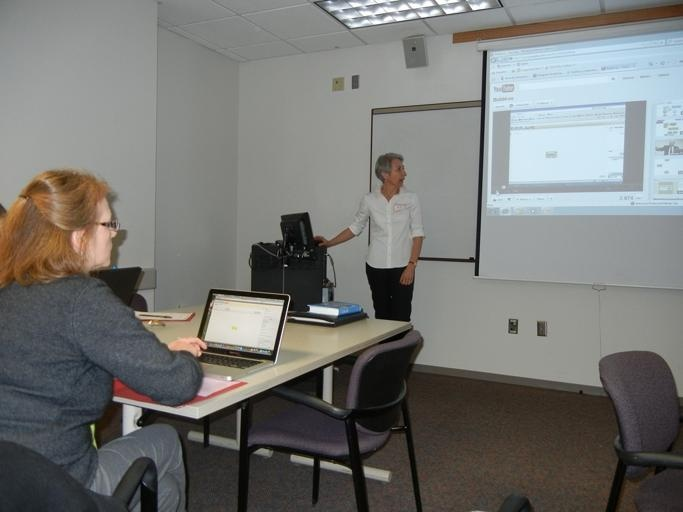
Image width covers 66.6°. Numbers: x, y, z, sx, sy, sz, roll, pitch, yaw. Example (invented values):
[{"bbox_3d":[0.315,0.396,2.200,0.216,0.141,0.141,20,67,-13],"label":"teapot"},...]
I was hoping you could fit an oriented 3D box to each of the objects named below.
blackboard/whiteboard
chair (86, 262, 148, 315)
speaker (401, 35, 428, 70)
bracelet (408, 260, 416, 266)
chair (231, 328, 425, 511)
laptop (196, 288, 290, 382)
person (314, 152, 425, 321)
[{"bbox_3d":[0.790,-0.634,4.651,1.379,1.910,0.078,2,7,22],"label":"blackboard/whiteboard"},{"bbox_3d":[-1.211,0.191,2.816,0.368,0.284,0.248,-1,10,-32],"label":"chair"},{"bbox_3d":[0.664,-1.857,4.714,0.241,0.301,0.151,-2,17,17],"label":"speaker"},{"bbox_3d":[0.589,0.058,4.355,0.038,0.039,0.039,8,13,40],"label":"bracelet"},{"bbox_3d":[-0.028,0.837,2.350,0.695,1.016,0.734,3,7,19],"label":"chair"},{"bbox_3d":[-0.432,0.306,2.241,0.361,0.239,0.323,4,5,24],"label":"laptop"},{"bbox_3d":[0.357,-0.179,4.565,0.699,1.400,0.290,5,7,33],"label":"person"}]
